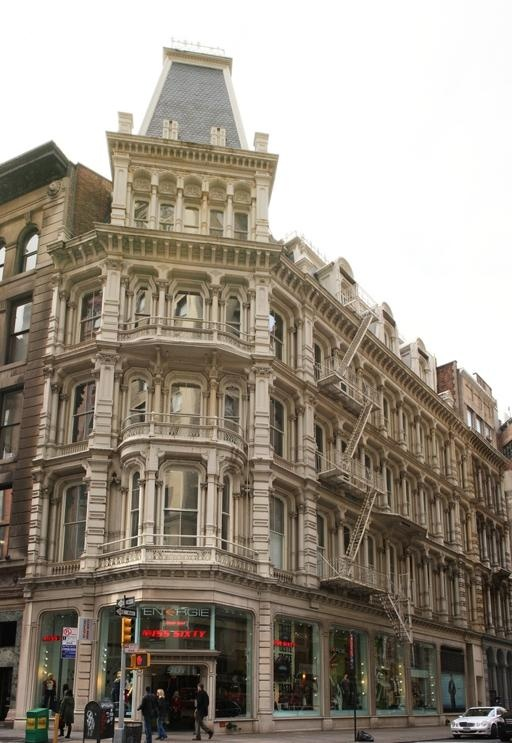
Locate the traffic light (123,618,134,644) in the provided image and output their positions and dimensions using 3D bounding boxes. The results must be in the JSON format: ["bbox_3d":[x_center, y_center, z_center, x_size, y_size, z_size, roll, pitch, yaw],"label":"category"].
[{"bbox_3d":[-2.686,5.390,15.821,0.206,0.561,0.560,7,-28,-11],"label":"traffic light"}]

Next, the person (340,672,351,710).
[{"bbox_3d":[3.523,12.388,29.443,0.311,1.333,0.872,-6,-28,16],"label":"person"}]

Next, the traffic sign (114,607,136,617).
[{"bbox_3d":[-2.823,5.168,16.486,0.366,0.222,0.366,10,-9,0],"label":"traffic sign"}]

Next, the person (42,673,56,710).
[{"bbox_3d":[-6.398,9.908,23.530,0.445,1.040,1.409,8,-28,-12],"label":"person"}]
